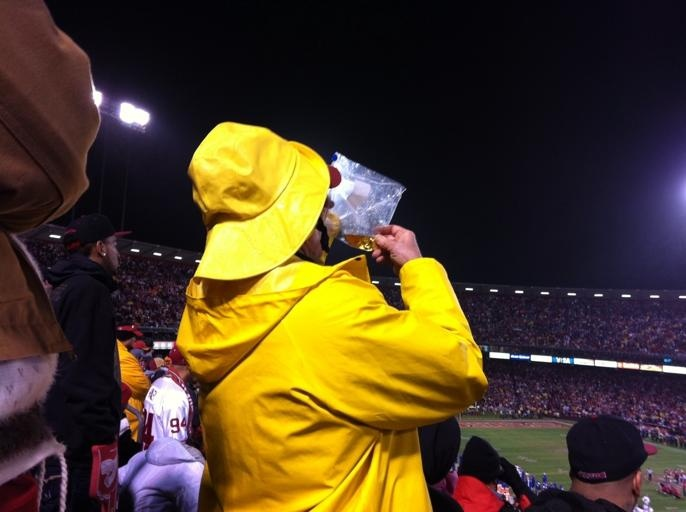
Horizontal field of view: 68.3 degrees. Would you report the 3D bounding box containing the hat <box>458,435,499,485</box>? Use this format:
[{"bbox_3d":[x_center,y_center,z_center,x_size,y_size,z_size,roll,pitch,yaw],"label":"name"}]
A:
[{"bbox_3d":[1.110,1.608,4.060,0.300,0.329,0.464,-2,1,4],"label":"hat"}]

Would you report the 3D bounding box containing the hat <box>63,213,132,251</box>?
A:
[{"bbox_3d":[-1.848,-0.166,3.776,0.236,0.219,0.402,-1,22,47],"label":"hat"}]

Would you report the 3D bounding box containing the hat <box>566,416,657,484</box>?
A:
[{"bbox_3d":[1.695,1.116,3.170,0.517,0.303,0.346,-11,3,-39],"label":"hat"}]

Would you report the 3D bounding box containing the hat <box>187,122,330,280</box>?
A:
[{"bbox_3d":[-0.273,-0.165,1.893,0.460,0.611,0.306,-3,-18,21],"label":"hat"}]
